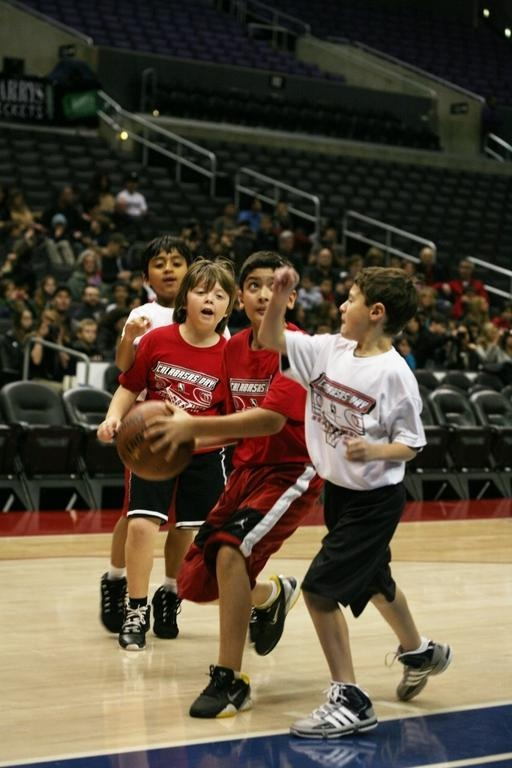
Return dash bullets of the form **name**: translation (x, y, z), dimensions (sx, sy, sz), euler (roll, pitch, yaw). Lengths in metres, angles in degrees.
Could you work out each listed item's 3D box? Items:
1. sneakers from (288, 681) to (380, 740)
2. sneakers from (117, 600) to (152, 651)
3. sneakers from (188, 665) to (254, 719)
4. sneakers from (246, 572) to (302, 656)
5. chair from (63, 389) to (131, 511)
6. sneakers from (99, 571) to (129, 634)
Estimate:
- **sneakers**: translation (0.200, 0.778, 1.686), dimensions (0.264, 0.133, 0.092), euler (0, -5, -15)
- **sneakers**: translation (-0.443, 0.901, 2.508), dimensions (0.070, 0.077, 0.204), euler (0, -1, -1)
- **sneakers**: translation (-0.086, 0.803, 1.798), dimensions (0.089, 0.109, 0.244), euler (-3, -14, 29)
- **sneakers**: translation (0.069, 0.823, 2.602), dimensions (0.155, 0.338, 0.117), euler (31, -19, -30)
- **chair**: translation (-1.439, 0.595, 6.566), dimensions (0.986, 1.093, 0.930), euler (0, 2, -19)
- **sneakers**: translation (-0.583, 0.888, 2.807), dimensions (0.108, 0.266, 0.110), euler (-2, -3, -15)
